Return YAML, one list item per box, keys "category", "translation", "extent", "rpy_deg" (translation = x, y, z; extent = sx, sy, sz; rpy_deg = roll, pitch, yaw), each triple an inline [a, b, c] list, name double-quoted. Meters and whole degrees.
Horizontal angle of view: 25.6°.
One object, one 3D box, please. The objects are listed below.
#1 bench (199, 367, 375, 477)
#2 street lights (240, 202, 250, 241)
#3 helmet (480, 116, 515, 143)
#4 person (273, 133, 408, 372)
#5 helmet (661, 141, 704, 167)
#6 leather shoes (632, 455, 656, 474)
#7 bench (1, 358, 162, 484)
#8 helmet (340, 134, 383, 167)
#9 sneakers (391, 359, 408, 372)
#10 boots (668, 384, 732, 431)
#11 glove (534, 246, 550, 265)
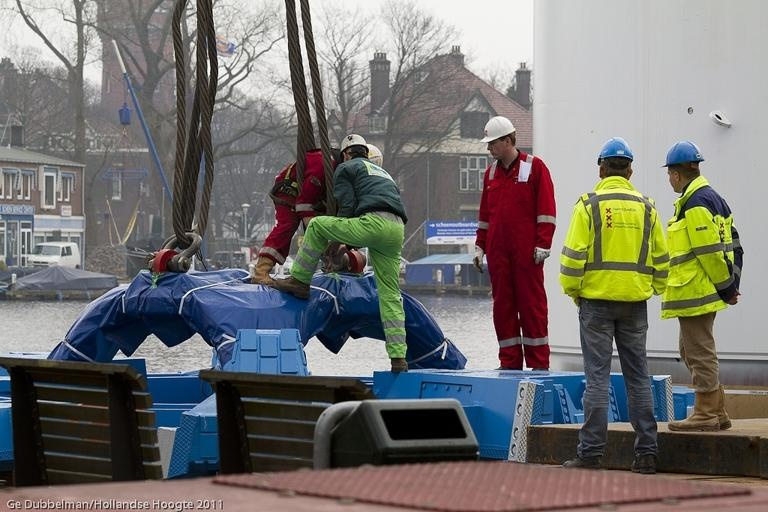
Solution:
- category: "bench"
  translation: [-0.883, 2.398, 21.461]
  extent: [1.966, 1.777, 1.926]
  rpy_deg: [-2, -5, 30]
- category: "street lights"
  translation: [-4.622, -1.105, 55.959]
  extent: [0.300, 1.255, 0.892]
  rpy_deg: [1, -2, -5]
- category: "helmet"
  translation: [1.654, -1.813, 23.932]
  extent: [0.450, 0.246, 0.344]
  rpy_deg: [-14, 8, -33]
- category: "person"
  translation: [-0.441, 0.099, 23.539]
  extent: [1.544, 2.993, 0.469]
  rpy_deg: [1, -3, -2]
- category: "helmet"
  translation: [4.080, -1.399, 22.581]
  extent: [0.374, 0.235, 0.486]
  rpy_deg: [-1, 7, 44]
- category: "leather shoes"
  translation: [3.395, 2.692, 21.866]
  extent: [0.289, 0.250, 0.187]
  rpy_deg: [1, -2, 1]
- category: "bench"
  translation: [-3.889, 2.131, 21.316]
  extent: [1.755, 1.528, 0.729]
  rpy_deg: [-1, -6, 23]
- category: "helmet"
  translation: [-0.270, -1.520, 24.131]
  extent: [0.593, 0.289, 0.403]
  rpy_deg: [2, 0, -26]
- category: "sneakers"
  translation: [0.220, 1.514, 23.402]
  extent: [0.241, 0.226, 0.141]
  rpy_deg: [-1, -2, 5]
- category: "boots"
  translation: [4.207, 2.019, 22.179]
  extent: [0.861, 0.558, 0.460]
  rpy_deg: [1, -2, -6]
- category: "glove"
  translation: [2.226, -0.001, 23.841]
  extent: [0.228, 0.187, 0.180]
  rpy_deg: [3, 3, 20]
